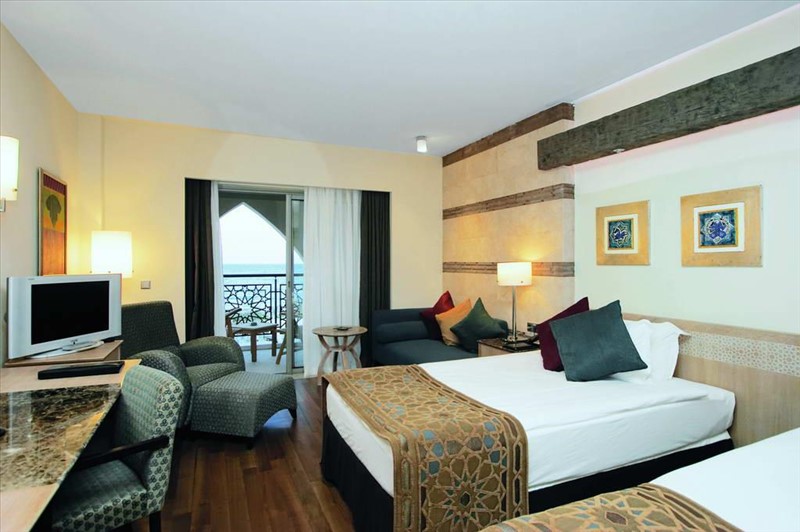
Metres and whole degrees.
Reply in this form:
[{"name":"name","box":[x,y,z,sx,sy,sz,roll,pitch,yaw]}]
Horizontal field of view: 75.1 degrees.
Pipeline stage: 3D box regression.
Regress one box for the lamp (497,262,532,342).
[{"name":"lamp","box":[1.218,0.378,5.461,0.349,0.695,0.755,-2,-2,13]}]

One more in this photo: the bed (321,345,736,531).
[{"name":"bed","box":[0.988,1.171,3.825,2.236,0.602,1.352,1,-3,-18]}]

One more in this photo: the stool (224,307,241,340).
[{"name":"stool","box":[-2.117,0.694,6.497,0.291,0.357,0.330,-1,2,-31]}]

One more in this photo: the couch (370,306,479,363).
[{"name":"couch","box":[0.133,0.841,6.142,0.740,0.534,0.999,6,-8,-28]}]

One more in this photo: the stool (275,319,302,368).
[{"name":"stool","box":[-1.418,0.958,6.582,0.397,0.596,0.189,-3,-2,41]}]

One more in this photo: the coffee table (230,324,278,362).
[{"name":"coffee table","box":[-1.777,0.984,6.735,0.486,0.322,0.486,-7,-11,24]}]

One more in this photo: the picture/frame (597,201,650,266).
[{"name":"picture/frame","box":[2.043,-0.298,4.724,0.052,0.727,0.609,4,0,-30]}]

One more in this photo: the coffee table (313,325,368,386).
[{"name":"coffee table","box":[-0.793,1.020,6.059,0.528,0.521,0.535,14,2,17]}]

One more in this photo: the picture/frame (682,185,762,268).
[{"name":"picture/frame","box":[2.559,-0.318,4.108,0.071,0.811,0.686,3,-1,-37]}]

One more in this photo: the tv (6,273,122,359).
[{"name":"tv","box":[-2.690,0.403,4.125,0.102,0.530,0.742,-1,-4,20]}]

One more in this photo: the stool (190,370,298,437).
[{"name":"stool","box":[-1.395,1.271,4.693,0.943,0.485,0.385,-1,-2,-22]}]
